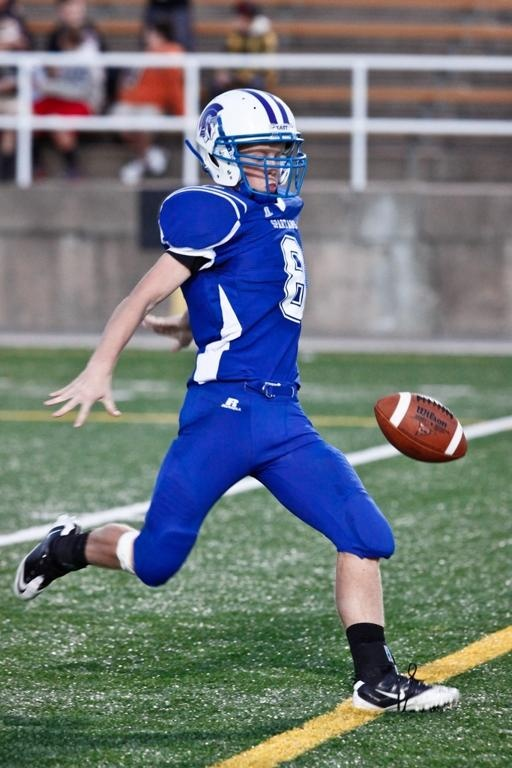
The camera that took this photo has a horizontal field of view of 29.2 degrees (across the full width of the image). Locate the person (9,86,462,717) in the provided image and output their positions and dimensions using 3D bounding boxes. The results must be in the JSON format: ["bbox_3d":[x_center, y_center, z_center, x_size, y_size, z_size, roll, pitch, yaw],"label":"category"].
[{"bbox_3d":[-0.046,-0.022,2.413,1.114,1.462,0.588,2,8,4],"label":"person"}]

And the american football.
[{"bbox_3d":[0.417,0.118,2.659,0.256,0.142,0.156,27,24,-15],"label":"american football"}]

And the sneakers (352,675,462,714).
[{"bbox_3d":[0.325,0.698,2.209,0.247,0.084,0.086,-4,-6,0],"label":"sneakers"}]

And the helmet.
[{"bbox_3d":[-0.033,-0.632,2.599,0.359,0.235,0.286,15,17,39],"label":"helmet"}]
